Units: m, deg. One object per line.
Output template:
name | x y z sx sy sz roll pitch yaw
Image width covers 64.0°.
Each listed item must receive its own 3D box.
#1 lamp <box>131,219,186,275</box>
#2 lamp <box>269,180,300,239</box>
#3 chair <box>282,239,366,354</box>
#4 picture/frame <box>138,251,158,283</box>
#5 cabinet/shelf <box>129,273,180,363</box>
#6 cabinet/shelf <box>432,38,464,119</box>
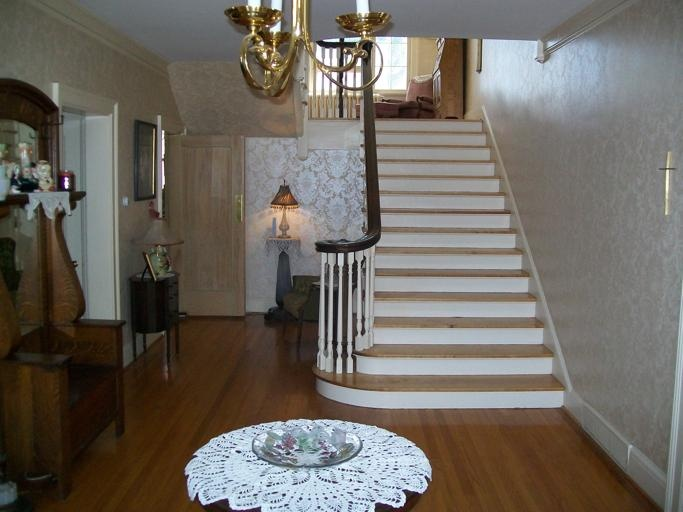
lamp | -1.980 -0.130 5.848 0.597 0.650 0.585 2 5 18
lamp | -0.753 -0.631 7.368 0.373 0.785 0.461 -2 7 -6
chair | -0.248 0.535 6.820 1.025 1.191 0.920 2 -2 -26
picture/frame | -1.995 0.096 5.654 0.131 0.291 0.374 -4 8 -25
cabinet/shelf | -1.948 0.621 5.652 0.476 0.962 0.805 -1 6 -7
cabinet/shelf | 1.594 -2.537 7.835 0.369 1.110 0.254 0 7 12
